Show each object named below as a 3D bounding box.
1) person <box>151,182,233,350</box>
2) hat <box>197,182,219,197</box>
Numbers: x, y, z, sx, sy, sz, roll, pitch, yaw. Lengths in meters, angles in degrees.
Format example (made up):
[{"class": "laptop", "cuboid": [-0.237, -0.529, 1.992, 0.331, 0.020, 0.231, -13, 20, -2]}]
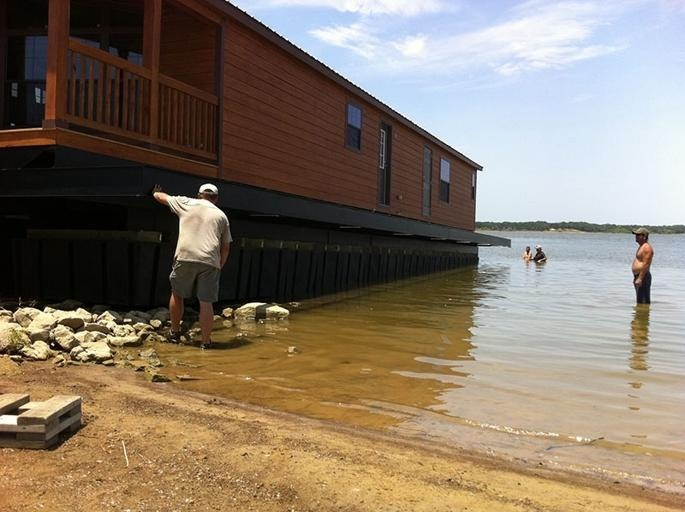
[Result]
[{"class": "person", "cuboid": [-1.774, 0.104, 6.459, 0.793, 1.956, 0.750, 2, 10, -26]}, {"class": "hat", "cuboid": [-1.668, -0.855, 6.686, 0.249, 0.117, 0.347, 6, -1, -17]}]
